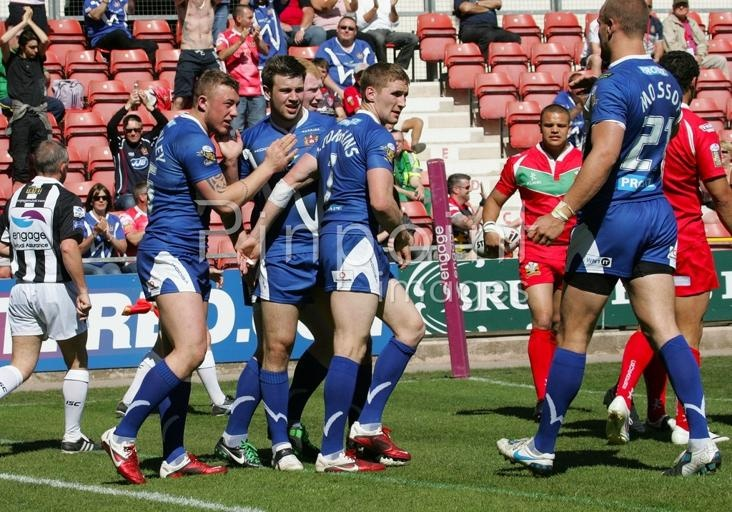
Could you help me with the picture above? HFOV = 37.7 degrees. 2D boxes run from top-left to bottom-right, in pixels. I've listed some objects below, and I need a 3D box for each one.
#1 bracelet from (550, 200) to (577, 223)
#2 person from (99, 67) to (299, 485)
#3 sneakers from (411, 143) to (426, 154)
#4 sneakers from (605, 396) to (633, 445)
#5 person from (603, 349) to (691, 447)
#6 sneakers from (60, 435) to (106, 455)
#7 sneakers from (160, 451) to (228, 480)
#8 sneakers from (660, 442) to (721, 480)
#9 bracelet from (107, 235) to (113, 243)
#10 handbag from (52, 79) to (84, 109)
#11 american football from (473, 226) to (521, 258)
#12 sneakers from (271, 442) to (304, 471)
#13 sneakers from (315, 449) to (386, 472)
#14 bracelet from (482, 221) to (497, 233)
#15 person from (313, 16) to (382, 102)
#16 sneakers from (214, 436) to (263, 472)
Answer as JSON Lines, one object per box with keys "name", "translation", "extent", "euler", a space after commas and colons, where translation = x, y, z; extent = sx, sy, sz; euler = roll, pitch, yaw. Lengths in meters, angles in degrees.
{"name": "bracelet", "translation": [1.455, -0.335, 8.031], "extent": [0.134, 0.147, 0.162], "euler": [-41, 9, -1]}
{"name": "person", "translation": [-1.428, 0.134, 8.597], "extent": [1.349, 3.241, 0.479], "euler": [-1, 5, -17]}
{"name": "sneakers", "translation": [0.802, -1.672, 16.635], "extent": [0.129, 0.116, 0.343], "euler": [-26, -13, 28]}
{"name": "sneakers", "translation": [2.116, 1.360, 9.006], "extent": [0.150, 0.464, 0.227], "euler": [0, 34, 14]}
{"name": "person", "translation": [2.397, 1.172, 8.863], "extent": [0.381, 0.495, 1.168], "euler": [-24, 3, -30]}
{"name": "sneakers", "translation": [-2.497, 1.638, 9.380], "extent": [0.321, 0.147, 0.135], "euler": [-1, 3, -19]}
{"name": "sneakers", "translation": [-1.413, 1.690, 8.673], "extent": [0.592, 0.258, 0.208], "euler": [-2, -1, -12]}
{"name": "sneakers", "translation": [2.433, 1.583, 8.326], "extent": [0.536, 0.257, 0.192], "euler": [-10, -2, 9]}
{"name": "bracelet", "translation": [-3.073, -0.205, 12.861], "extent": [0.053, 0.077, 0.029], "euler": [14, 28, 14]}
{"name": "handbag", "translation": [-4.578, -2.529, 16.472], "extent": [0.449, 0.476, 0.441], "euler": [-2, 0, -20]}
{"name": "american football", "translation": [1.250, -0.151, 10.226], "extent": [0.391, 0.351, 0.299], "euler": [3, -6, -13]}
{"name": "sneakers", "translation": [-0.642, 1.628, 8.665], "extent": [0.130, 0.146, 0.317], "euler": [0, -3, -32]}
{"name": "sneakers", "translation": [-0.131, 1.639, 8.647], "extent": [0.548, 0.221, 0.208], "euler": [0, -6, -6]}
{"name": "bracelet", "translation": [1.131, -0.264, 9.888], "extent": [0.092, 0.089, 0.103], "euler": [-3, 1, -17]}
{"name": "person", "translation": [-0.282, -2.958, 16.244], "extent": [0.946, 1.418, 0.718], "euler": [-1, 0, -18]}
{"name": "sneakers", "translation": [-1.035, 1.626, 8.787], "extent": [0.464, 0.242, 0.171], "euler": [21, -1, 3]}
